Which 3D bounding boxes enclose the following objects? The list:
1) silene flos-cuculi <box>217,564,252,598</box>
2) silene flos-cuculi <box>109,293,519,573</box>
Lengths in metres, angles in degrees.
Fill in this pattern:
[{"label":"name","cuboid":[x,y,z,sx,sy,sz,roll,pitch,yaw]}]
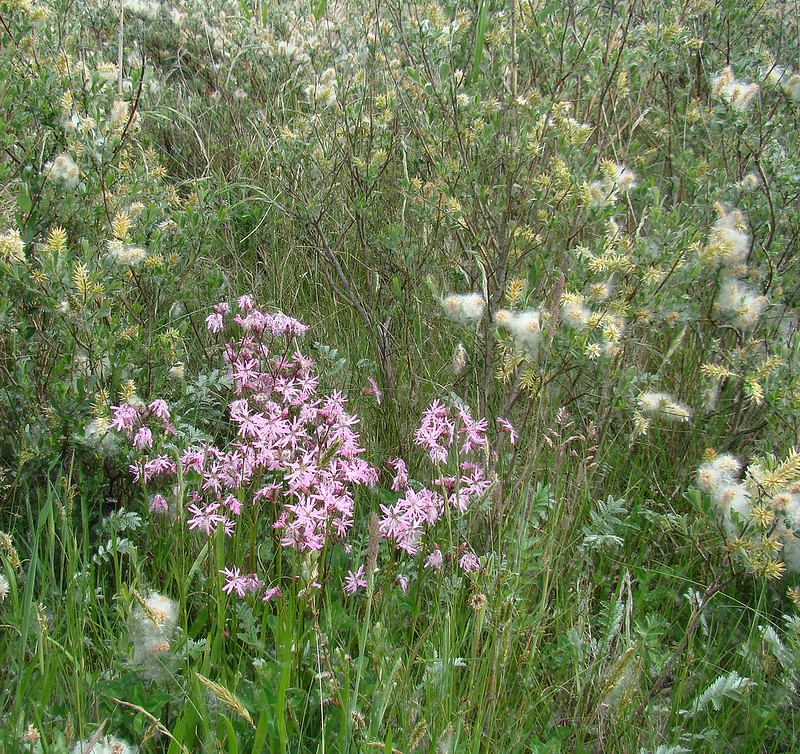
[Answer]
[{"label":"silene flos-cuculi","cuboid":[-0.451,0.572,2.200,0.088,0.028,0.111,-3,65,-42]},{"label":"silene flos-cuculi","cuboid":[-0.344,0.222,2.381,0.743,0.534,1.051,-11,24,-33]}]
